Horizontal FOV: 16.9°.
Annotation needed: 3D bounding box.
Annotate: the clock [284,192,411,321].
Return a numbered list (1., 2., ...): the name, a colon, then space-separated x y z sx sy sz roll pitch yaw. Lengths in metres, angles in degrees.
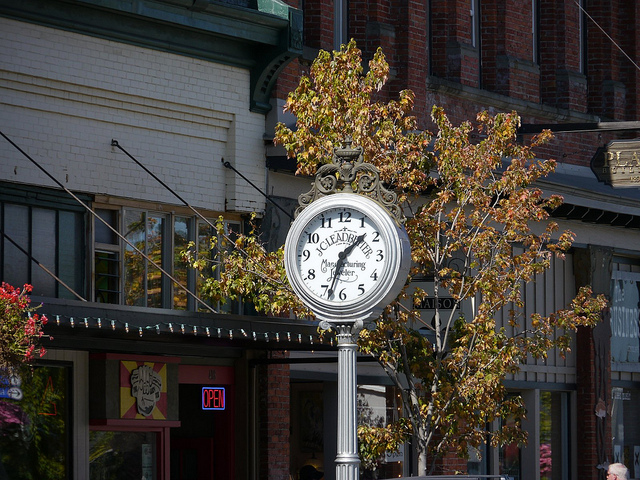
1. clock: 0.433 0.316 31.799 2.016 2.004 0.648 2 -3 15
